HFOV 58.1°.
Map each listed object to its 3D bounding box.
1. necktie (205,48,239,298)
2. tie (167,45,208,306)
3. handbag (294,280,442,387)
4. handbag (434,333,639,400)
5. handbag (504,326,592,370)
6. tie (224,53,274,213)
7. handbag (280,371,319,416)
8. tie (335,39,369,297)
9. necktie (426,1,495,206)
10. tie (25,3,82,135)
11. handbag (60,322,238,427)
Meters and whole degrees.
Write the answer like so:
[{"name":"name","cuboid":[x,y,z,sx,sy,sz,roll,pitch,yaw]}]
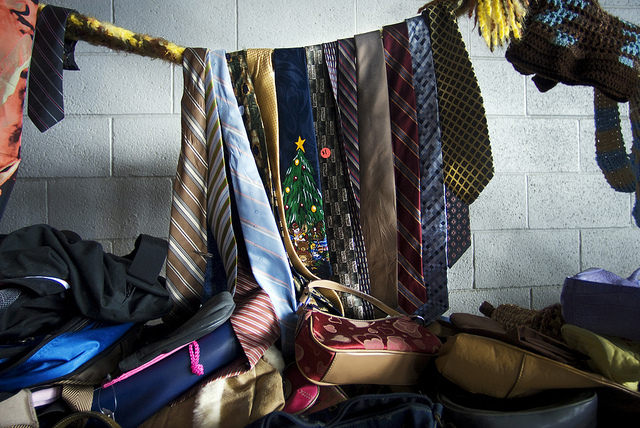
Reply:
[{"name":"necktie","cuboid":[-0.304,-0.129,1.681,0.034,0.724,0.097,-3,-11,-18]},{"name":"tie","cuboid":[-0.373,-0.112,1.686,0.102,0.750,0.089,4,5,-15]},{"name":"handbag","cuboid":[0.084,0.367,1.810,0.436,0.202,0.535,10,7,-24]},{"name":"handbag","cuboid":[0.552,0.418,1.535,0.475,0.095,0.071,7,5,6]},{"name":"handbag","cuboid":[0.622,0.366,1.567,0.239,0.082,0.274,-1,7,23]},{"name":"tie","cuboid":[-0.200,-0.310,1.741,0.084,0.630,0.030,-6,6,25]},{"name":"handbag","cuboid":[-0.058,0.487,1.562,0.086,0.022,0.090,-24,49,-15]},{"name":"tie","cuboid":[0.108,-0.142,1.697,0.097,0.758,0.025,-2,6,-23]},{"name":"necktie","cuboid":[0.391,-0.317,1.721,0.199,0.595,0.153,2,15,0]},{"name":"tie","cuboid":[-0.756,-0.418,1.634,0.124,0.353,0.067,2,6,-30]},{"name":"handbag","cuboid":[-0.427,0.431,1.525,0.318,0.088,0.260,-30,0,-19]}]
